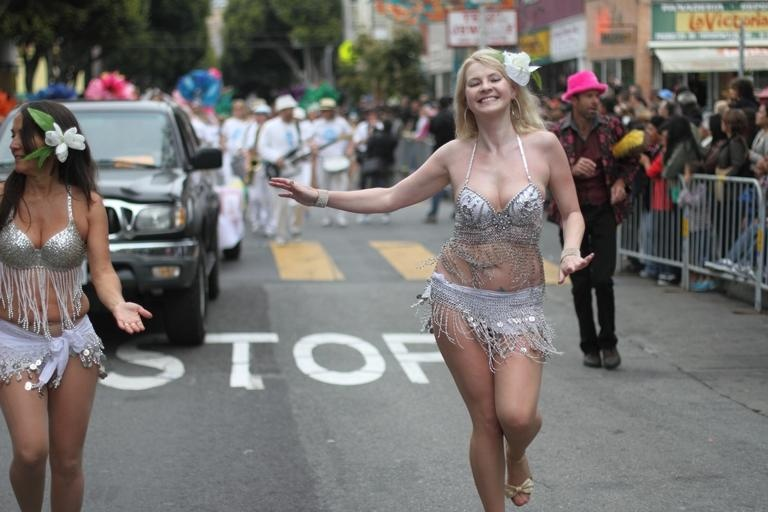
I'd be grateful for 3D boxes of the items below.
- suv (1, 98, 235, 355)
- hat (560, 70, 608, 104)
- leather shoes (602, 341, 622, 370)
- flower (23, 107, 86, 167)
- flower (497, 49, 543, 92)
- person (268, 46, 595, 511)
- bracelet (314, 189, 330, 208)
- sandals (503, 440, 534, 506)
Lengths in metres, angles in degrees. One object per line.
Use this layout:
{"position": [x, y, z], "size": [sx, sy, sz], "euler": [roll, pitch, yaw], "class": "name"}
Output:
{"position": [-2.410, -0.484, 8.181], "size": [1.628, 1.633, 2.937], "euler": [-1, 1, -3], "class": "suv"}
{"position": [1.700, -1.482, 7.584], "size": [0.285, 0.136, 0.330], "euler": [-20, -4, -5], "class": "hat"}
{"position": [1.982, 0.896, 7.515], "size": [0.088, 0.118, 0.268], "euler": [-11, 5, 4], "class": "leather shoes"}
{"position": [-1.830, -0.642, 4.727], "size": [0.295, 0.114, 0.191], "euler": [-22, -41, 35], "class": "flower"}
{"position": [0.779, -1.054, 4.942], "size": [0.216, 0.229, 0.080], "euler": [-6, -13, -46], "class": "flower"}
{"position": [0.591, 0.107, 4.998], "size": [0.802, 2.520, 1.095], "euler": [-9, 13, -38], "class": "person"}
{"position": [-0.370, -0.340, 5.162], "size": [0.066, 0.108, 0.113], "euler": [5, 10, 0], "class": "bracelet"}
{"position": [0.757, 1.258, 4.906], "size": [0.135, 0.472, 0.068], "euler": [-7, 26, 17], "class": "sandals"}
